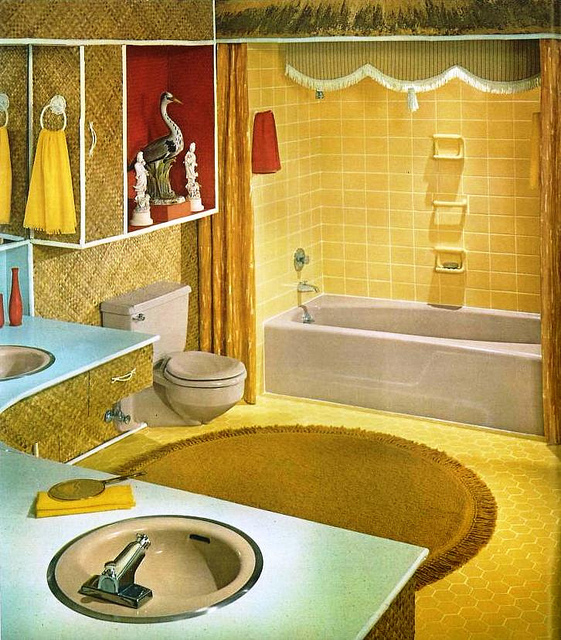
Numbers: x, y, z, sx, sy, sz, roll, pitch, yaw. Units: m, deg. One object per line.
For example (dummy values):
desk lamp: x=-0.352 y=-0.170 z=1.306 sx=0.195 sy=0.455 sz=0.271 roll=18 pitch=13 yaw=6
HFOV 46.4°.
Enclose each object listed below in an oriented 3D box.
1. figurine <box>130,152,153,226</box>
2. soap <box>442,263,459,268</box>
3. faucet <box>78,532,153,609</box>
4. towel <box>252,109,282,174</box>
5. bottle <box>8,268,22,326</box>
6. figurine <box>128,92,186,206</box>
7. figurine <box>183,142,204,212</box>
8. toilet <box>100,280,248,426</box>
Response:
figurine: x=-0.762 y=-0.706 z=3.537 sx=0.111 sy=0.380 sz=0.226 roll=-2 pitch=14 yaw=-3
soap: x=1.264 y=-0.402 z=4.855 sx=0.113 sy=0.032 sz=0.044 roll=2 pitch=14 yaw=14
faucet: x=-0.247 y=0.396 z=1.021 sx=0.095 sy=0.104 sz=0.111 roll=1 pitch=14 yaw=11
towel: x=-0.095 y=-1.171 z=4.313 sx=0.274 sy=0.385 sz=0.103 roll=-19 pitch=25 yaw=-40
bottle: x=-1.227 y=-0.105 z=3.000 sx=0.064 sy=0.258 sz=0.127 roll=-7 pitch=15 yaw=-20
figurine: x=-0.697 y=-0.962 z=3.694 sx=0.406 sy=0.559 sz=0.265 roll=6 pitch=19 yaw=16
figurine: x=-0.512 y=-0.830 z=3.832 sx=0.078 sy=0.385 sz=0.177 roll=4 pitch=15 yaw=23
toilet: x=-0.559 y=0.275 z=3.783 sx=0.680 sy=0.883 sz=0.551 roll=6 pitch=16 yaw=26
